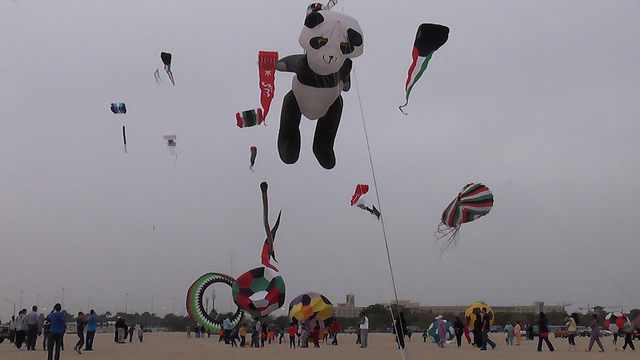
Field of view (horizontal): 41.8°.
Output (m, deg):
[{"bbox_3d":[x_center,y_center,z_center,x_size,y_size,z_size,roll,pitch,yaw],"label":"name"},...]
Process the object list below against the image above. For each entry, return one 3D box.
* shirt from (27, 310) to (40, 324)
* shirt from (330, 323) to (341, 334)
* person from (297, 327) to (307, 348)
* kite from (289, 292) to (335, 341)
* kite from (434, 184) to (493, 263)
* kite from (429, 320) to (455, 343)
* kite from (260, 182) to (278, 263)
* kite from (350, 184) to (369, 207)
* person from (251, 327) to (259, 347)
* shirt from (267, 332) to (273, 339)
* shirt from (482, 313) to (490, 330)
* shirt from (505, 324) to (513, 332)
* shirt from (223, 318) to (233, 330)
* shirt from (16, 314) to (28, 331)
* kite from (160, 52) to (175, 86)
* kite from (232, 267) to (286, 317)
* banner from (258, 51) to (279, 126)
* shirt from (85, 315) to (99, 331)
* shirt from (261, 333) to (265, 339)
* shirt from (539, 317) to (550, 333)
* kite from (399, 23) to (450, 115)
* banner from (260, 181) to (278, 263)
[{"bbox_3d":[-15.769,7.506,46.058,0.553,0.750,0.437,6,-24,-21],"label":"shirt"},{"bbox_3d":[0.893,8.933,50.766,0.743,0.559,1.288,25,-3,0],"label":"shirt"},{"bbox_3d":[-0.955,9.120,48.647,0.454,1.332,0.806,-2,-22,-2],"label":"person"},{"bbox_3d":[-0.640,8.258,51.448,2.932,3.588,3.069,-3,-21,-8],"label":"kite"},{"bbox_3d":[7.068,1.187,39.628,1.538,2.637,1.060,9,-19,47],"label":"kite"},{"bbox_3d":[6.815,8.795,48.484,1.529,1.432,0.497,10,3,-33],"label":"kite"},{"bbox_3d":[-2.930,2.562,45.706,0.553,5.083,1.030,4,-21,-16],"label":"kite"},{"bbox_3d":[1.853,0.613,37.866,0.508,1.344,0.474,12,14,-43],"label":"kite"},{"bbox_3d":[-3.856,9.299,49.498,0.383,1.215,1.267,0,-23,-6],"label":"person"},{"bbox_3d":[-3.035,9.538,51.634,0.256,0.402,0.429,2,-23,-12],"label":"shirt"},{"bbox_3d":[9.286,7.835,46.735,0.346,0.927,0.434,-5,-22,5],"label":"shirt"},{"bbox_3d":[11.315,8.858,50.076,0.387,0.614,1.132,-8,-23,12],"label":"shirt"},{"bbox_3d":[-5.352,8.352,49.033,0.344,0.631,0.567,1,-3,0],"label":"shirt"},{"bbox_3d":[-16.414,7.783,46.190,0.578,0.801,0.297,5,-24,-20],"label":"shirt"},{"bbox_3d":[-8.074,-5.933,44.072,0.557,1.635,1.212,2,-23,-11],"label":"kite"},{"bbox_3d":[-3.572,6.465,49.116,2.935,2.710,0.952,-5,-22,5],"label":"kite"},{"bbox_3d":[-2.552,-4.587,41.069,1.156,4.002,0.625,-3,-15,20],"label":"banner"},{"bbox_3d":[-12.462,7.768,45.897,0.427,0.832,0.565,3,-23,-16],"label":"shirt"},{"bbox_3d":[-3.396,9.275,50.021,0.192,0.463,0.534,-1,-23,-4],"label":"shirt"},{"bbox_3d":[12.031,7.743,45.000,0.474,0.781,0.395,-1,-22,-5],"label":"shirt"},{"bbox_3d":[5.076,-5.114,39.404,2.243,5.123,4.150,-6,-23,7],"label":"kite"},{"bbox_3d":[-2.759,2.487,45.211,0.734,5.079,1.831,13,-33,-29],"label":"banner"}]
